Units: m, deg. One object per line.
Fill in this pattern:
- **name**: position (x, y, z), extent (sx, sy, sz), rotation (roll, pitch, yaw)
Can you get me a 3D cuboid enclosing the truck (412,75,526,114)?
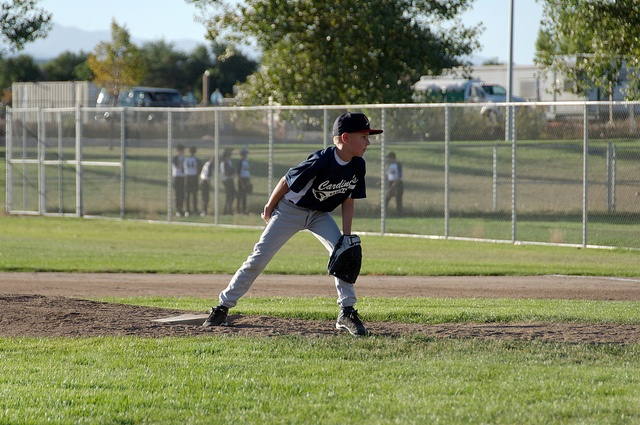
- **truck**: position (5.539, -3.934, 53.242), extent (4.267, 2.230, 2.266), rotation (0, 11, 6)
